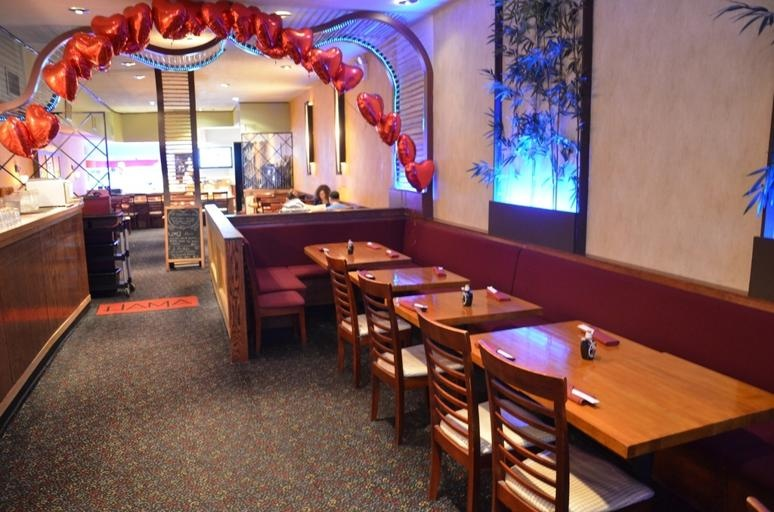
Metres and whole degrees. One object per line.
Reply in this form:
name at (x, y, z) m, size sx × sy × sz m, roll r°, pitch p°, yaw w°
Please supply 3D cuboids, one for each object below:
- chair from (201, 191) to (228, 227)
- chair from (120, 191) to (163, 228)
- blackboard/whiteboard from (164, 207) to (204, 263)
chair at (-4.905, -1.567, 15.737) m, size 0.772 × 0.519 × 1.128 m, roll -5°, pitch 13°, yaw -16°
chair at (-6.463, -1.176, 14.429) m, size 1.281 × 0.925 × 0.683 m, roll 0°, pitch 19°, yaw -12°
blackboard/whiteboard at (-3.552, -0.362, 9.558) m, size 0.612 × 1.197 × 0.678 m, roll -2°, pitch 35°, yaw -12°
